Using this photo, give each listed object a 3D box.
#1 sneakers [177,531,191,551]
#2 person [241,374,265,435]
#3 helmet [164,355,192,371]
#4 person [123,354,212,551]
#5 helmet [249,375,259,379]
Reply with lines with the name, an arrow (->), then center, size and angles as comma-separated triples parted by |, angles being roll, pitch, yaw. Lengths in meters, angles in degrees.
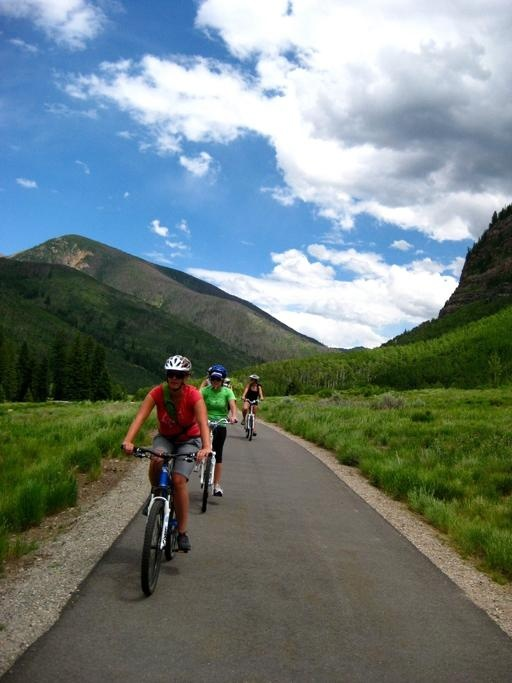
sneakers -> -0.677, 1.891, 4.460 | 0.117, 0.133, 0.168 | 6, -4, -15
person -> -0.164, 2.105, 15.852 | 0.947, 1.335, 1.951 | 1, -3, -4
helmet -> -0.771, 0.213, 4.680 | 0.240, 0.137, 0.486 | 7, -4, -11
person -> -0.863, 1.134, 4.749 | 0.831, 1.598, 1.291 | 6, -3, -11
helmet -> -0.022, 1.103, 14.436 | 0.202, 0.125, 0.149 | 15, 18, -8
